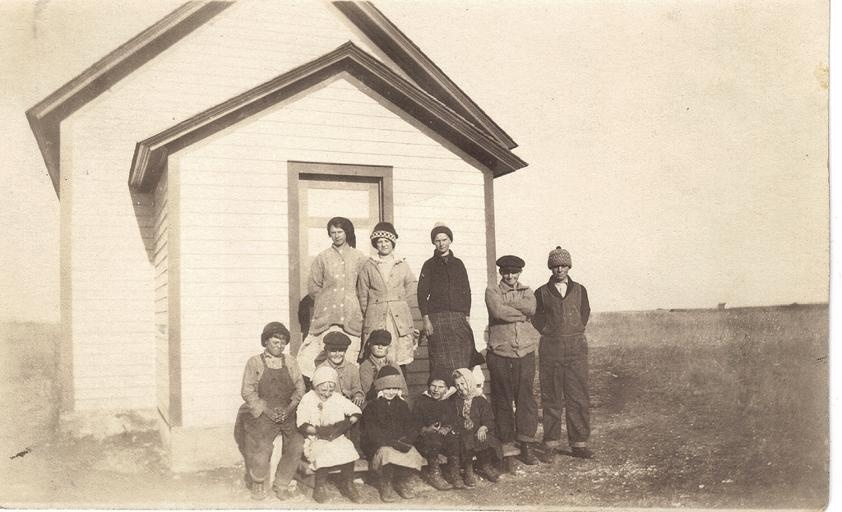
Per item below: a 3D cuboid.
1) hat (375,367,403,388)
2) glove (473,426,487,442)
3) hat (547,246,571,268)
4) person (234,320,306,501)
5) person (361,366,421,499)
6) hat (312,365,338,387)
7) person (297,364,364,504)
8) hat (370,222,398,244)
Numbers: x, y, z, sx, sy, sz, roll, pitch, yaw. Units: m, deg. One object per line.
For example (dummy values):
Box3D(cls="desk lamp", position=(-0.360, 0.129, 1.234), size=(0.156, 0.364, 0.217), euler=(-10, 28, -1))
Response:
Box3D(cls="hat", position=(-0.435, 1.669, 11.231), size=(0.348, 0.242, 0.319), euler=(2, -2, -11))
Box3D(cls="glove", position=(0.847, 2.493, 11.351), size=(0.212, 0.177, 0.052), euler=(1, -2, -5))
Box3D(cls="hat", position=(1.861, 0.040, 10.979), size=(0.308, 0.241, 0.290), euler=(1, -11, -3))
Box3D(cls="person", position=(-2.043, 2.154, 11.298), size=(0.896, 2.428, 0.341), euler=(-3, -6, 1))
Box3D(cls="person", position=(-0.407, 2.463, 11.250), size=(0.782, 1.869, 0.335), euler=(-3, -6, -3))
Box3D(cls="hat", position=(-1.314, 1.642, 11.160), size=(0.300, 0.201, 0.290), euler=(-3, 1, -38))
Box3D(cls="person", position=(-1.252, 2.469, 11.163), size=(0.864, 1.887, 0.249), euler=(-2, -6, -5))
Box3D(cls="hat", position=(-0.542, -0.331, 11.672), size=(0.302, 0.229, 0.340), euler=(2, 7, 11))
